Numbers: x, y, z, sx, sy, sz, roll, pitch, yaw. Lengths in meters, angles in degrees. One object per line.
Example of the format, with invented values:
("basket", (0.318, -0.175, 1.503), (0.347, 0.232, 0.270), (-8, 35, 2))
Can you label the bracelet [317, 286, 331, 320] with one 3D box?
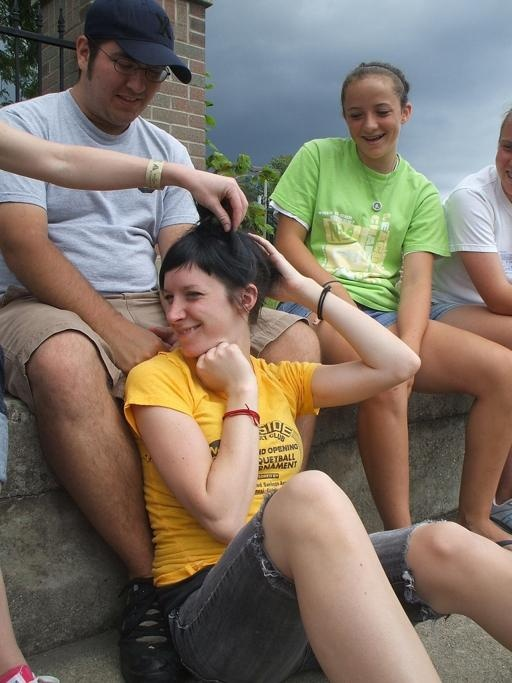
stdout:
("bracelet", (0.195, -0.113, 1.862), (0.026, 0.082, 0.070), (14, -6, 3))

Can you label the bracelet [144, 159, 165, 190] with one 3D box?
("bracelet", (-0.246, -0.397, 1.524), (0.073, 0.063, 0.050), (5, 14, 3))

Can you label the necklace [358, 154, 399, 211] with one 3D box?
("necklace", (0.474, -0.613, 2.477), (0.126, 0.185, 0.200), (3, -2, 7))
